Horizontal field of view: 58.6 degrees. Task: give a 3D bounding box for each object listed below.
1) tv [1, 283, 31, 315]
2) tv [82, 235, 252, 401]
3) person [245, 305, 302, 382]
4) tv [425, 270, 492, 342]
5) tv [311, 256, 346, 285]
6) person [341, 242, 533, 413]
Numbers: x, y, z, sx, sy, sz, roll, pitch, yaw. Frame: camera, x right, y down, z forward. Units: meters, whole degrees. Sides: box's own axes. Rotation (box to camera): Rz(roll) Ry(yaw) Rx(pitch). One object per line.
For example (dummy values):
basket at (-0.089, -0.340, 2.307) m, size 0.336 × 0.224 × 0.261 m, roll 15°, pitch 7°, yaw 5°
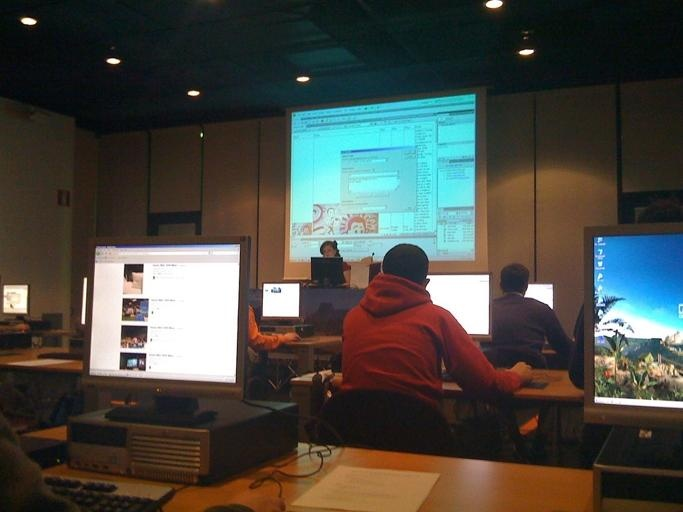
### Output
tv at (-3.470, 0.472, 6.477) m, size 0.325 × 0.375 × 0.048 m, roll -1°, pitch -5°, yaw -5°
tv at (-0.589, 0.190, 2.020) m, size 0.633 × 0.526 × 0.057 m, roll 0°, pitch -1°, yaw 20°
person at (-0.567, 0.648, 4.637) m, size 0.509 × 0.550 × 0.736 m, roll 0°, pitch -3°, yaw -8°
tv at (0.628, 0.270, 3.165) m, size 0.405 × 0.415 × 0.042 m, roll 1°, pitch -8°, yaw 23°
tv at (-0.104, 0.125, 4.821) m, size 0.206 × 0.204 × 0.072 m, roll -1°, pitch -3°, yaw 10°
person at (0.413, 0.348, 2.597) m, size 0.797 × 0.717 × 0.579 m, roll 1°, pitch -5°, yaw 32°
